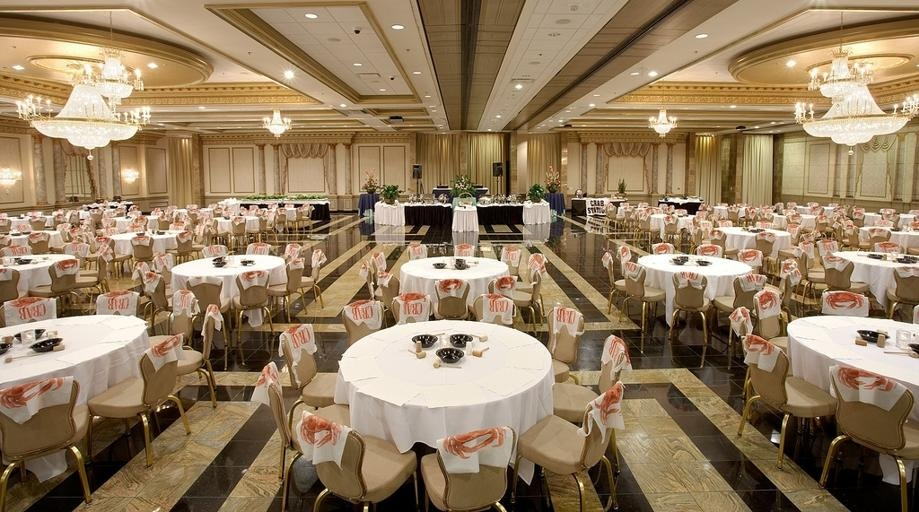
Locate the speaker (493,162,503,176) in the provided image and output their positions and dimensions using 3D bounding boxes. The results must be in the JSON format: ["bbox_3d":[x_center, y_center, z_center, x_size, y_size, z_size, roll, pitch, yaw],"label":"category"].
[{"bbox_3d":[1.908,-4.298,26.740,0.453,0.583,0.854,4,0,2],"label":"speaker"}]

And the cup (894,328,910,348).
[{"bbox_3d":[6.234,1.148,7.626,0.233,0.250,0.247,0,0,0],"label":"cup"}]

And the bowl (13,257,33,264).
[{"bbox_3d":[-8.896,0.091,11.043,0.268,0.083,0.195,6,8,21],"label":"bowl"}]

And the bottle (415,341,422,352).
[{"bbox_3d":[-0.540,1.220,7.365,0.118,0.125,0.115,2,8,14],"label":"bottle"}]

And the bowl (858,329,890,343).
[{"bbox_3d":[5.835,1.125,7.687,0.208,0.059,0.253,-15,13,-18],"label":"bowl"}]

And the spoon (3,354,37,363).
[{"bbox_3d":[-6.019,1.398,7.424,0.338,0.044,0.079,-2,20,-35],"label":"spoon"}]

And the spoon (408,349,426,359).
[{"bbox_3d":[-0.577,1.317,7.371,0.263,0.099,0.149,0,8,8],"label":"spoon"}]

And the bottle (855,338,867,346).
[{"bbox_3d":[5.649,1.202,7.624,0.136,0.064,0.169,6,11,44],"label":"bottle"}]

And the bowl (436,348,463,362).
[{"bbox_3d":[-0.118,1.325,7.258,0.386,0.162,0.190,-2,8,-1],"label":"bowl"}]
